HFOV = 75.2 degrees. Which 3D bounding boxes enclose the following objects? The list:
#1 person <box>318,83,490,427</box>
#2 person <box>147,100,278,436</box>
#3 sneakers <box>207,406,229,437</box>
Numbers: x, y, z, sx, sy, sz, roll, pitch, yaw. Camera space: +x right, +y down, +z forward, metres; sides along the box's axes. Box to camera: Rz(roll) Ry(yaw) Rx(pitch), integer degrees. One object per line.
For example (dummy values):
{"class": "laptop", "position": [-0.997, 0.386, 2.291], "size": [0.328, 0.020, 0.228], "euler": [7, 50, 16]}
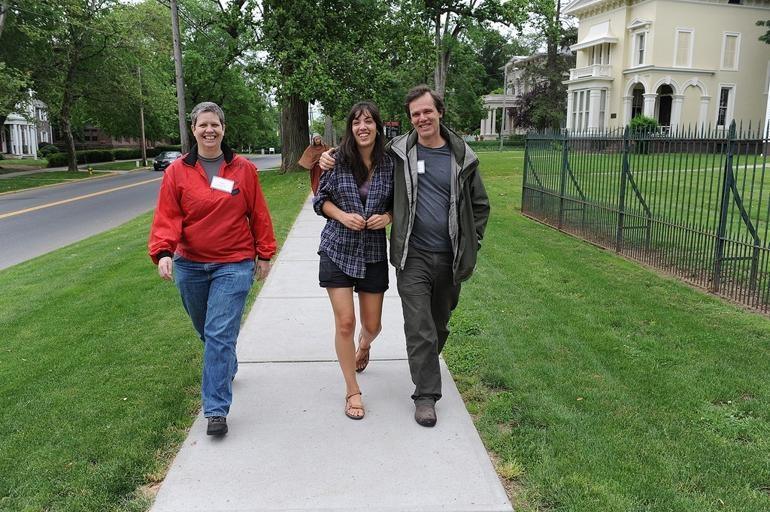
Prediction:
{"class": "person", "position": [0.384, -0.050, 4.317], "size": [0.768, 2.713, 0.900], "euler": [14, 20, 42]}
{"class": "person", "position": [-1.498, 0.027, 4.228], "size": [0.834, 2.547, 0.972], "euler": [6, 16, 22]}
{"class": "sneakers", "position": [-1.352, 1.326, 4.006], "size": [0.160, 0.214, 0.187], "euler": [-4, 16, -17]}
